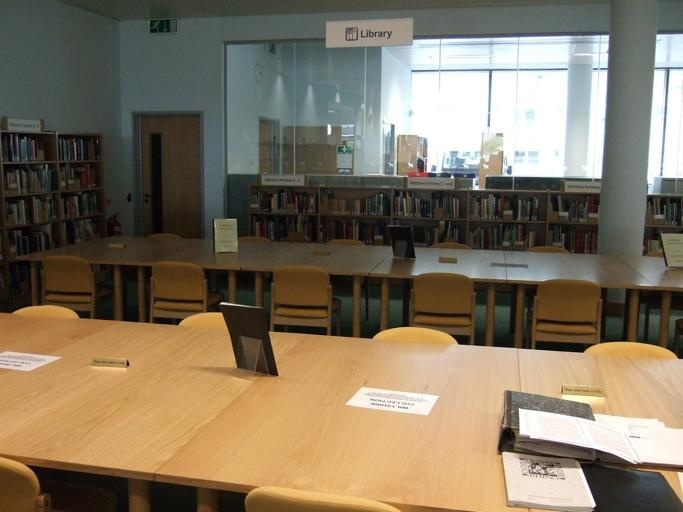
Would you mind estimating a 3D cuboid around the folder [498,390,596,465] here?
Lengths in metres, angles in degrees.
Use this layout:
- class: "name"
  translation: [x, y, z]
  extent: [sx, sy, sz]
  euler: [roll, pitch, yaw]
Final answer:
- class: "folder"
  translation: [0.777, 0.667, 2.116]
  extent: [0.237, 0.067, 0.253]
  euler: [5, 19, 9]
